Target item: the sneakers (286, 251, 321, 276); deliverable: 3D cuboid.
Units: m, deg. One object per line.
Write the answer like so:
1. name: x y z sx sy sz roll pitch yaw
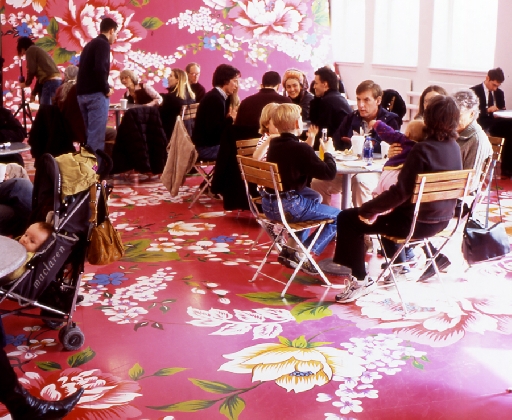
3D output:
1. sneakers: 0.393 0.436 3.225 0.375 0.150 0.124 16 -1 -38

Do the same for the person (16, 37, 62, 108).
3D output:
1. person: -4.272 -2.810 7.902 0.573 1.349 1.281 -11 17 -36

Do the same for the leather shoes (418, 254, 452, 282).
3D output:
1. leather shoes: 1.401 0.460 3.108 0.278 0.108 0.087 -36 32 -9
